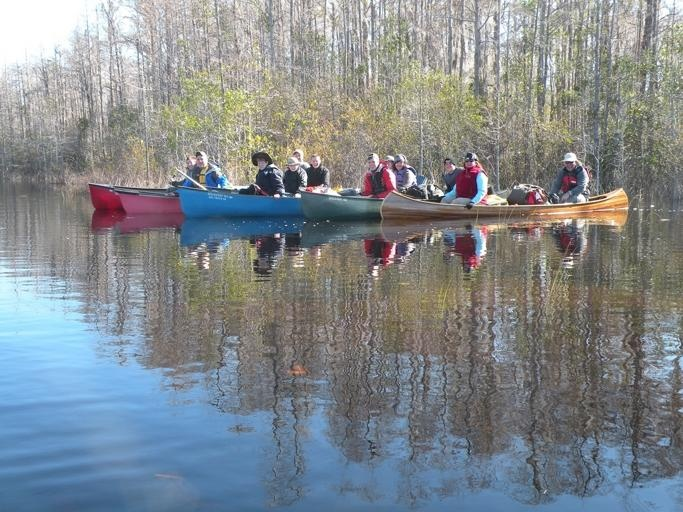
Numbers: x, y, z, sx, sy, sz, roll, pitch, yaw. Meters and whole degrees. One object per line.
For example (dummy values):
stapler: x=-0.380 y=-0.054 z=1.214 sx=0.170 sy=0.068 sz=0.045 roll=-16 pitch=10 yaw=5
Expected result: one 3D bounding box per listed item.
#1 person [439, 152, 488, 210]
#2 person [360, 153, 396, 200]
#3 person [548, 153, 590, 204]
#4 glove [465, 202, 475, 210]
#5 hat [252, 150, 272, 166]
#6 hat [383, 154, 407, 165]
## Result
person: x=2.829 y=-1.684 z=18.741 sx=0.778 sy=1.229 sz=1.214 roll=-1 pitch=0 yaw=-21
person: x=0.871 y=-1.874 z=19.100 sx=0.756 sy=1.104 sz=1.013 roll=0 pitch=0 yaw=1
person: x=5.376 y=-1.856 z=19.528 sx=0.867 sy=1.199 sz=1.676 roll=0 pitch=0 yaw=14
glove: x=2.832 y=-1.137 z=18.250 sx=0.119 sy=0.140 sz=0.054 roll=10 pitch=13 yaw=1
hat: x=-1.844 y=-2.365 z=19.433 sx=0.404 sy=0.106 sz=0.380 roll=8 pitch=-16 yaw=-23
hat: x=1.281 y=-2.328 z=19.651 sx=0.501 sy=0.283 sz=0.647 roll=1 pitch=3 yaw=1
